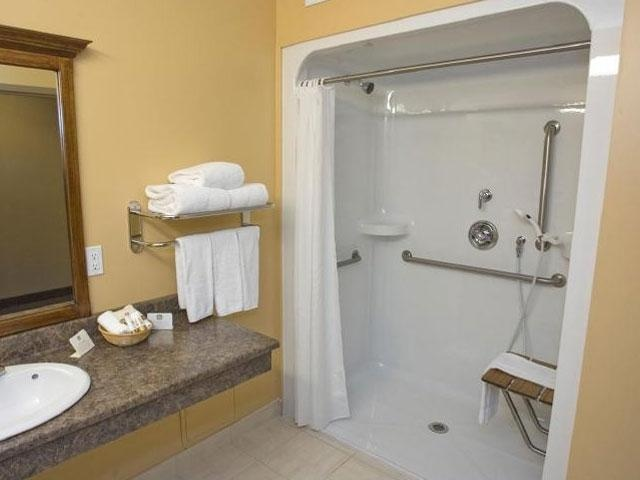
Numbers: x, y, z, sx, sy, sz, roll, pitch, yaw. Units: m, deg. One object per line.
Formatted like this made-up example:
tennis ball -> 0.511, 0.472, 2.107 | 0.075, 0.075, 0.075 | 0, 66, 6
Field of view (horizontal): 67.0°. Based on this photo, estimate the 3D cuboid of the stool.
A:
stool -> 1.138, 0.905, 2.755 | 0.489, 0.397, 0.497 | -6, 6, -17

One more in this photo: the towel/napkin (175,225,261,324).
towel/napkin -> -0.568, 0.175, 2.628 | 0.146, 0.451, 0.489 | 10, 13, 43

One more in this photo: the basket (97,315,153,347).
basket -> -0.927, 0.442, 2.313 | 0.136, 0.052, 0.138 | -3, 16, -33

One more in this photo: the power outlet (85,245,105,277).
power outlet -> -1.125, 0.098, 2.410 | 0.074, 0.134, 0.014 | -6, -23, -25

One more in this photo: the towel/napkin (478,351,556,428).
towel/napkin -> 1.094, 0.770, 2.721 | 0.394, 0.179, 0.386 | 5, 16, 33

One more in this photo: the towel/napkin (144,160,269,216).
towel/napkin -> -0.576, -0.251, 2.540 | 0.304, 0.206, 0.456 | 13, 15, 42
